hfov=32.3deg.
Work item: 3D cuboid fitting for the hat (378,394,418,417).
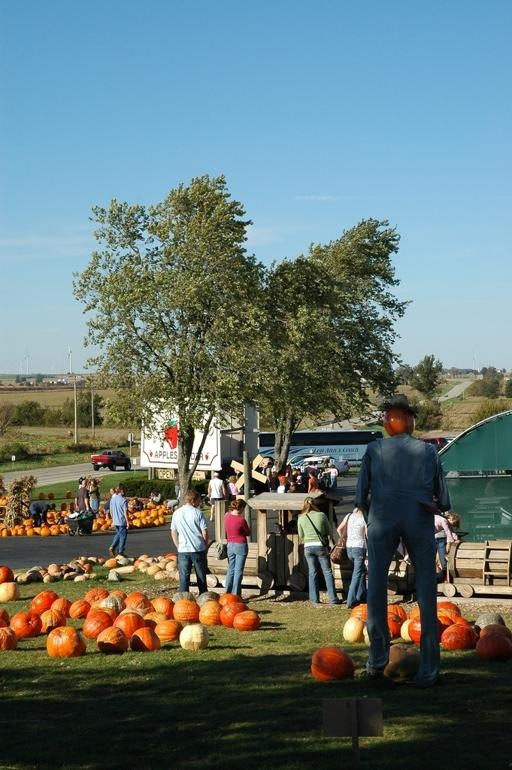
[{"bbox_3d":[1.140,0.165,7.115,0.299,0.156,0.279,2,-4,-6],"label":"hat"}]

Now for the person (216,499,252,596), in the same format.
[{"bbox_3d":[-0.259,2.366,12.711,0.374,1.436,0.796,-1,1,-2],"label":"person"}]

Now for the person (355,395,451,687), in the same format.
[{"bbox_3d":[1.133,1.217,6.869,0.714,2.264,0.602,0,1,11],"label":"person"}]

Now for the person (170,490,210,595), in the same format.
[{"bbox_3d":[-0.927,2.259,12.464,0.483,1.570,0.912,-1,1,-6],"label":"person"}]

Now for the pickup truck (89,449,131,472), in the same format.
[{"bbox_3d":[-10.228,5.313,63.249,1.472,1.029,2.713,-1,-7,8],"label":"pickup truck"}]
